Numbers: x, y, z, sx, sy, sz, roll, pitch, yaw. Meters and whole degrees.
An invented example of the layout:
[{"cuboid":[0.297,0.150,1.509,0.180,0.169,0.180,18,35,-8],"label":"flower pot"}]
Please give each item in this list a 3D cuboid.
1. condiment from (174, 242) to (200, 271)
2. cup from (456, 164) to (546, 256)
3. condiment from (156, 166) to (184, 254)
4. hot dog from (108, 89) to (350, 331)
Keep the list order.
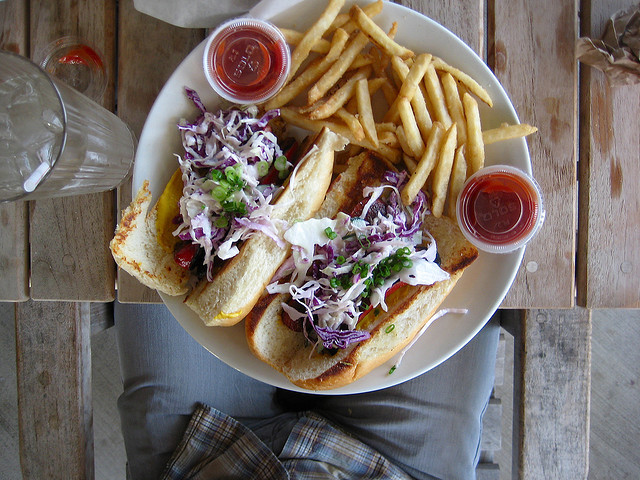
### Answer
[{"cuboid":[-0.501,0.059,2.260,0.054,0.042,0.115,26,94,-1],"label":"condiment"},{"cuboid":[0.674,-0.113,2.304,0.333,0.213,0.319,0,89,-1],"label":"cup"},{"cuboid":[-0.573,-0.107,2.277,0.128,0.059,0.292,8,93,-47],"label":"condiment"},{"cuboid":[-0.314,-0.131,2.403,0.710,0.363,1.007,25,91,0],"label":"hot dog"}]
